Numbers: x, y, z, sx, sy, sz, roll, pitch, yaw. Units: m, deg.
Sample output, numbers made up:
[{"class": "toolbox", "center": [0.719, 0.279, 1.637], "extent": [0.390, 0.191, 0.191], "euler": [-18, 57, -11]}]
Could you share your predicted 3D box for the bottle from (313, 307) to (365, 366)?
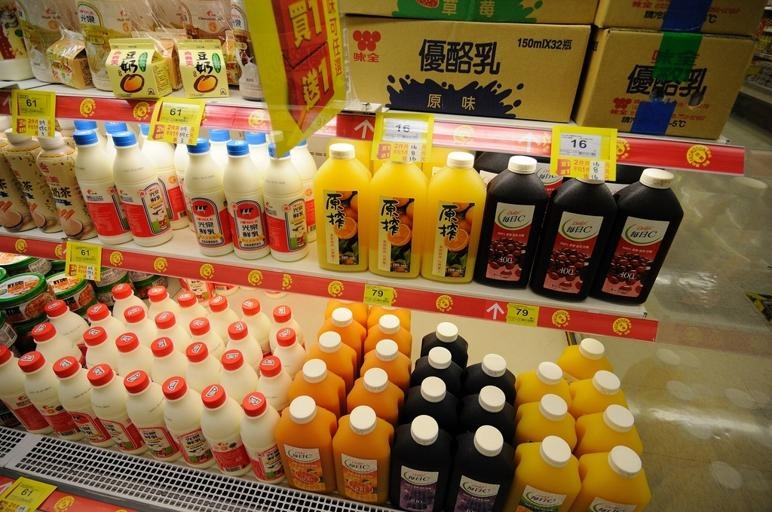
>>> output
[{"class": "bottle", "center": [-0.219, 0.409, 2.377], "extent": [0.165, 0.285, 0.162], "euler": [0, 40, 0]}]

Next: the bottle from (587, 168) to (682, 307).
[{"class": "bottle", "center": [1.056, -0.070, 2.001], "extent": [0.257, 0.542, 0.227], "euler": [15, 32, 23]}]

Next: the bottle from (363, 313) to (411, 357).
[{"class": "bottle", "center": [0.015, 0.377, 2.468], "extent": [0.235, 0.369, 0.213], "euler": [0, 40, 3]}]

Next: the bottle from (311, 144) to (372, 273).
[{"class": "bottle", "center": [-0.190, -0.198, 2.124], "extent": [0.242, 0.550, 0.179], "euler": [-3, 29, -8]}]

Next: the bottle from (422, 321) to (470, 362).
[{"class": "bottle", "center": [0.309, 0.446, 2.442], "extent": [0.228, 0.340, 0.123], "euler": [5, 50, 8]}]

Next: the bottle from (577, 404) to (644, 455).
[{"class": "bottle", "center": [0.967, 0.762, 2.085], "extent": [0.228, 0.385, 0.235], "euler": [-11, 43, 11]}]

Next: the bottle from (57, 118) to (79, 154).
[{"class": "bottle", "center": [-1.636, -0.604, 2.445], "extent": [0.096, 0.090, 0.234], "euler": [-8, 56, -26]}]

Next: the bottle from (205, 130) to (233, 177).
[{"class": "bottle", "center": [-0.835, -0.491, 2.395], "extent": [0.129, 0.334, 0.121], "euler": [7, 67, -17]}]

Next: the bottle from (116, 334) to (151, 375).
[{"class": "bottle", "center": [-1.232, 0.488, 2.323], "extent": [0.119, 0.194, 0.115], "euler": [-3, 34, 2]}]
